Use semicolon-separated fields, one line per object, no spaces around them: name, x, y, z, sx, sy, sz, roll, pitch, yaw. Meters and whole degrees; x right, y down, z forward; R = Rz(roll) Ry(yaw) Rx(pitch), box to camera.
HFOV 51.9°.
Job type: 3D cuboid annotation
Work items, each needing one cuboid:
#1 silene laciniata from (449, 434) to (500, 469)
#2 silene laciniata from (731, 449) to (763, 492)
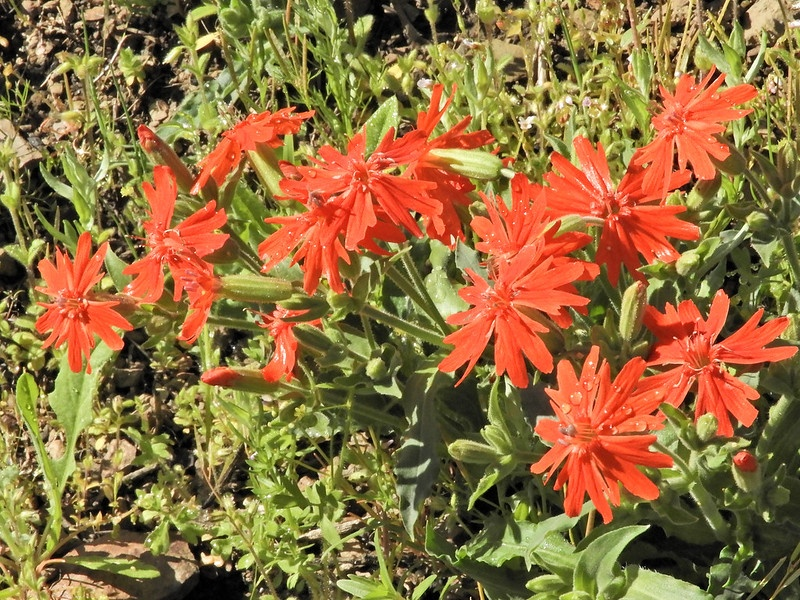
silene laciniata;0.179;0.378;2.053;0.073;0.113;0.039;-62;37;20
silene laciniata;0.836;0.431;1.990;0.060;0.227;0.058;-1;52;24
